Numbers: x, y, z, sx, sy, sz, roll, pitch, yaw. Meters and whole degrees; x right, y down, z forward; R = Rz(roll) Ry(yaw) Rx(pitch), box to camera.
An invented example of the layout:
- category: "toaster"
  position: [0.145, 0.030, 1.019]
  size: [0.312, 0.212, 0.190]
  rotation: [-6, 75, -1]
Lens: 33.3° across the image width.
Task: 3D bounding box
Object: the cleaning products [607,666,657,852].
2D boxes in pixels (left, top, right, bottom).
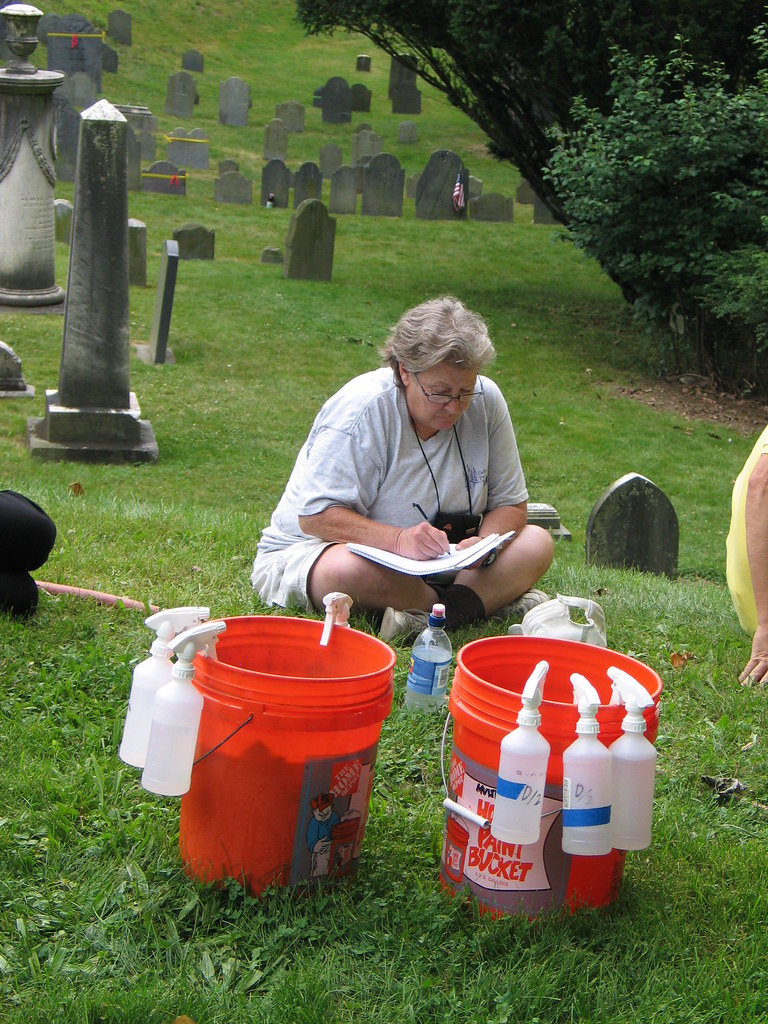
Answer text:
- category: "cleaning products"
  position: [0.483, 0.488, 2.452]
  size: [0.114, 0.316, 0.146]
  rotation: [11, -11, -4]

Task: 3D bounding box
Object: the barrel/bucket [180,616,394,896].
- category: "barrel/bucket"
  position: [-0.198, 0.465, 2.648]
  size: [0.491, 0.506, 0.416]
  rotation: [3, 9, -8]

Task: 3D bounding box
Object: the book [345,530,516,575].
- category: "book"
  position: [0.225, 0.148, 4.212]
  size: [0.595, 0.138, 0.325]
  rotation: [-2, 14, -33]

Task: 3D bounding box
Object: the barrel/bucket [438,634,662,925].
- category: "barrel/bucket"
  position: [0.360, 0.502, 2.576]
  size: [0.477, 0.563, 0.359]
  rotation: [1, 12, -15]

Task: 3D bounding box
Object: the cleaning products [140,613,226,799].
- category: "cleaning products"
  position: [-0.383, 0.388, 2.458]
  size: [0.121, 0.342, 0.236]
  rotation: [6, 13, -5]

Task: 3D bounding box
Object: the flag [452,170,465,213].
- category: "flag"
  position: [1.189, -4.937, 20.138]
  size: [0.219, 0.659, 0.543]
  rotation: [7, 13, 1]

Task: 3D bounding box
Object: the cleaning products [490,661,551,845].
- category: "cleaning products"
  position: [0.259, 0.451, 2.389]
  size: [0.088, 0.322, 0.134]
  rotation: [7, 14, -1]
